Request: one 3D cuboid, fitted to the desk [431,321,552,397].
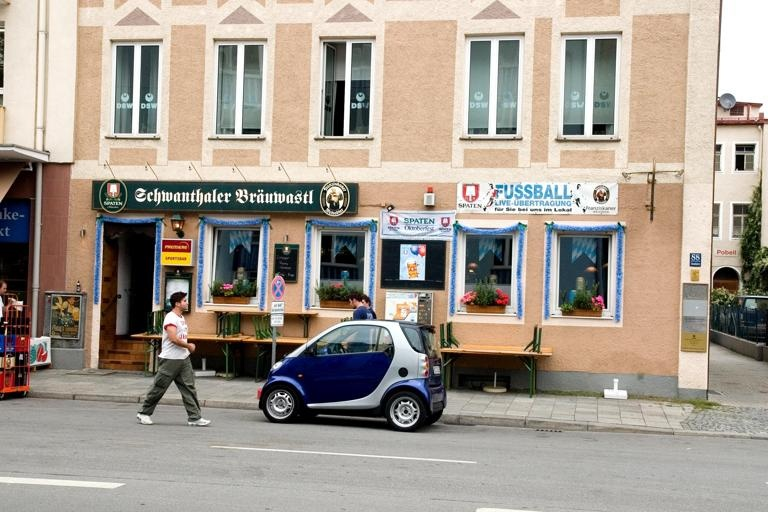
[{"bbox_3d":[2.866,2.668,28.782,2.875,1.790,1.245,1,-1,3],"label":"desk"}]

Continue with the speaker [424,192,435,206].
[{"bbox_3d":[1.207,-1.512,29.509,0.270,0.382,0.190,2,-1,0],"label":"speaker"}]

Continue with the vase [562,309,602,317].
[{"bbox_3d":[5.181,1.500,28.943,1.006,0.205,0.148,1,-1,1],"label":"vase"}]

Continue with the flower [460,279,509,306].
[{"bbox_3d":[2.695,1.003,29.277,0.985,0.405,0.659,1,-1,-5],"label":"flower"}]

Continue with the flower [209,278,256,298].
[{"bbox_3d":[-4.116,0.888,30.396,1.022,0.394,0.519,1,-3,1],"label":"flower"}]

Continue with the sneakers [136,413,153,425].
[{"bbox_3d":[-5.344,3.590,24.393,0.480,0.184,0.170,4,1,25],"label":"sneakers"}]

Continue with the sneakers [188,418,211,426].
[{"bbox_3d":[-4.081,3.674,24.413,0.500,0.197,0.185,1,-1,-3],"label":"sneakers"}]

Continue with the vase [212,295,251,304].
[{"bbox_3d":[-4.197,1.223,30.396,1.030,0.164,0.174,1,-1,-5],"label":"vase"}]
